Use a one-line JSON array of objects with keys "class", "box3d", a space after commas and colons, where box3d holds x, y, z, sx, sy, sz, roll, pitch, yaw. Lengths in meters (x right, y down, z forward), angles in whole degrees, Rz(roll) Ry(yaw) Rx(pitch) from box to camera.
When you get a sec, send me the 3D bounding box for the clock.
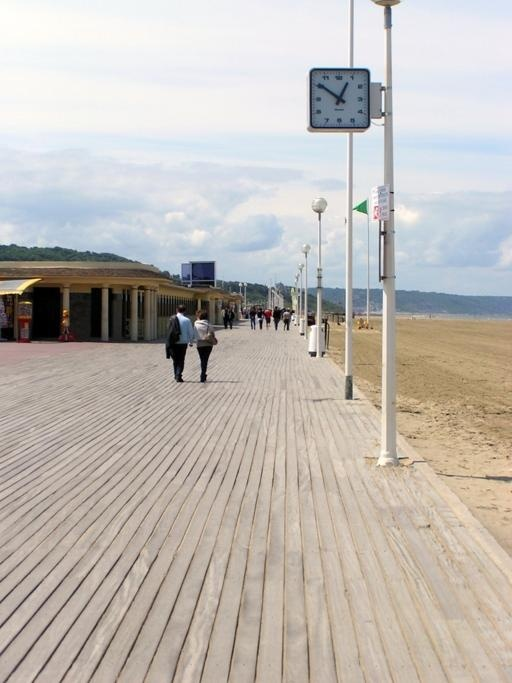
[{"class": "clock", "box3d": [0.905, -2.766, 6.199, 0.735, 0.201, 0.897, 11, -26, 4]}]
